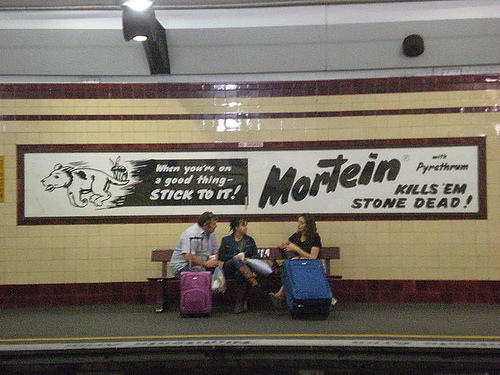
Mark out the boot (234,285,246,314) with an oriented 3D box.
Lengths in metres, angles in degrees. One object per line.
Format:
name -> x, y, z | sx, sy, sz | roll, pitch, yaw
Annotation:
boot -> -0.208, 2.125, 19.933 | 0.201, 0.541, 0.221 | 0, -5, -2

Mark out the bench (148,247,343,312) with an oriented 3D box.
bench -> -0.073, 1.784, 20.490 | 3.903, 1.237, 0.968 | -1, -4, -2

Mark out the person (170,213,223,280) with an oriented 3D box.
person -> -0.980, 1.141, 20.221 | 0.961, 1.234, 0.843 | 4, -1, -29

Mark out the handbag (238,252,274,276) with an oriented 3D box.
handbag -> 0.102, 1.470, 20.016 | 0.663, 0.432, 0.291 | 0, -5, -1
